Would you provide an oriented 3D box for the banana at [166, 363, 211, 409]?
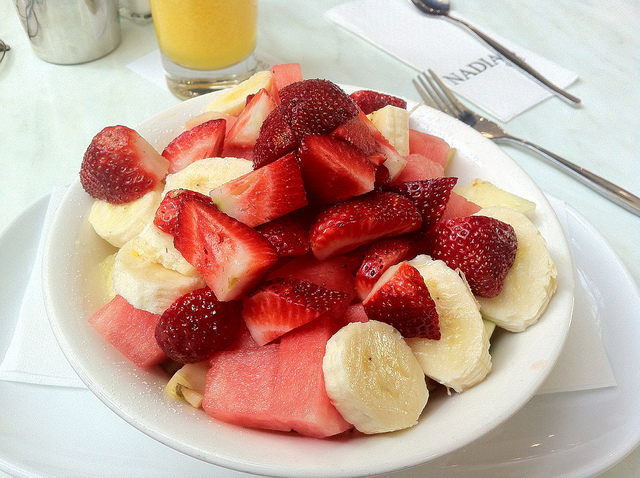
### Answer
[{"bbox_3d":[-0.251,0.275,1.070,0.067,0.024,0.071,31,32,-1],"label":"banana"}]

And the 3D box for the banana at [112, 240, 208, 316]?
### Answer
[{"bbox_3d":[-0.341,0.057,1.155,0.204,0.051,0.192,14,30,-36],"label":"banana"}]

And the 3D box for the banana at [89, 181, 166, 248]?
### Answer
[{"bbox_3d":[-0.405,-0.041,1.231,0.135,0.053,0.141,-39,49,-5],"label":"banana"}]

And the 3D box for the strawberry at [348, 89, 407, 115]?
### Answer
[{"bbox_3d":[0.137,-0.328,1.339,0.126,0.047,0.064,11,20,-11],"label":"strawberry"}]

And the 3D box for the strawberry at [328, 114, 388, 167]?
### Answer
[{"bbox_3d":[0.079,-0.180,1.171,0.108,0.028,0.111,47,40,-21],"label":"strawberry"}]

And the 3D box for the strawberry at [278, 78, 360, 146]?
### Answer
[{"bbox_3d":[-0.005,-0.265,1.135,0.146,0.093,0.140,-22,58,-12],"label":"strawberry"}]

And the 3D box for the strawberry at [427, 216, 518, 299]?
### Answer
[{"bbox_3d":[0.313,0.018,1.139,0.169,0.133,0.109,32,38,-12],"label":"strawberry"}]

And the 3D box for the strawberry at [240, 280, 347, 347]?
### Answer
[{"bbox_3d":[-0.049,0.109,1.083,0.183,0.104,0.107,-10,30,-6],"label":"strawberry"}]

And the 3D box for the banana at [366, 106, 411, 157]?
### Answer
[{"bbox_3d":[0.164,-0.226,1.278,0.103,0.034,0.116,28,42,-35],"label":"banana"}]

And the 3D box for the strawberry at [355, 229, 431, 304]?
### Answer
[{"bbox_3d":[0.157,0.081,1.113,0.042,0.132,0.137,49,26,-13],"label":"strawberry"}]

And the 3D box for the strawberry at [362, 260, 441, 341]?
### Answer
[{"bbox_3d":[0.165,0.106,1.078,0.134,0.152,0.063,-22,102,-57],"label":"strawberry"}]

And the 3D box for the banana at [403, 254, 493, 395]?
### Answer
[{"bbox_3d":[0.258,0.146,1.092,0.106,0.210,0.055,-15,43,21],"label":"banana"}]

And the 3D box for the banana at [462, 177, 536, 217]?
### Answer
[{"bbox_3d":[0.383,-0.092,1.222,0.076,0.037,0.119,-33,61,-25],"label":"banana"}]

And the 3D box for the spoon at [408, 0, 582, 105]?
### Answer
[{"bbox_3d":[0.611,-0.648,1.993,0.140,0.078,0.726,-27,60,-27],"label":"spoon"}]

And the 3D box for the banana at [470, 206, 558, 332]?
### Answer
[{"bbox_3d":[0.402,0.062,1.121,0.155,0.055,0.235,-8,67,16],"label":"banana"}]

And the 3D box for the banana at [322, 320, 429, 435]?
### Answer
[{"bbox_3d":[0.120,0.262,1.017,0.165,0.041,0.178,20,55,-25],"label":"banana"}]
